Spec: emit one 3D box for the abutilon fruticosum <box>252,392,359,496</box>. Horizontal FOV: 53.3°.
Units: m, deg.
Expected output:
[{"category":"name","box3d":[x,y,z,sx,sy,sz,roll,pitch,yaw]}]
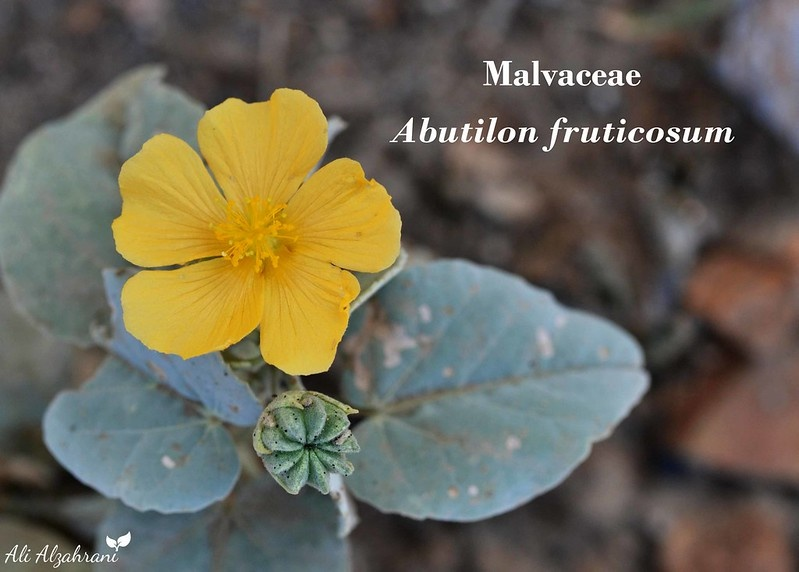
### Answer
[{"category":"abutilon fruticosum","box3d":[-0.191,0.320,1.640,0.209,0.089,0.204,0,82,1]}]
